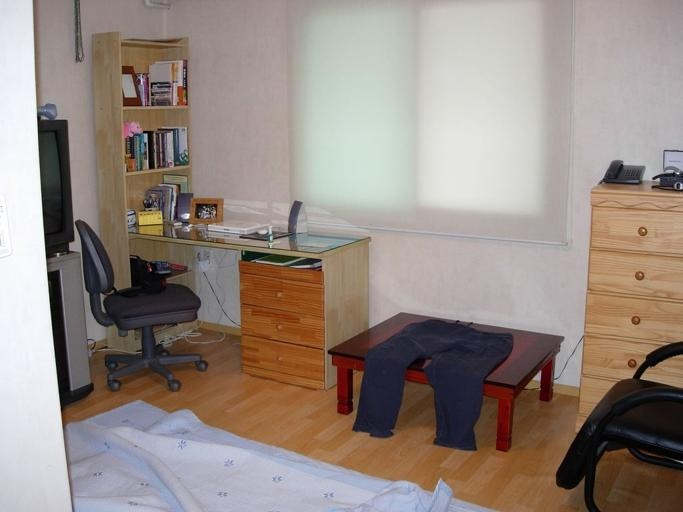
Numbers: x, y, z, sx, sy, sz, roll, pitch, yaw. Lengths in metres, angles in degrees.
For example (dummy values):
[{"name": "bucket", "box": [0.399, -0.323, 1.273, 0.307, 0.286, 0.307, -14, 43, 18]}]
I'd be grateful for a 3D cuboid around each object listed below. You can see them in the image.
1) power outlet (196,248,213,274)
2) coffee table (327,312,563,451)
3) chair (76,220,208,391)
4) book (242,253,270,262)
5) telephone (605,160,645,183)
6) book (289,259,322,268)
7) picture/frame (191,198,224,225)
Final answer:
[{"name": "power outlet", "box": [-1.238, 0.036, 4.780, 0.183, 0.261, 0.066, -6, -2, -13]}, {"name": "coffee table", "box": [0.678, 0.771, 3.585, 1.439, 0.483, 0.901, 5, 14, 22]}, {"name": "chair", "box": [-1.480, 0.327, 4.003, 0.927, 1.169, 0.799, -1, 9, -24]}, {"name": "book", "box": [-0.701, 0.010, 4.126, 0.117, 0.026, 0.113, 7, 15, 30]}, {"name": "telephone", "box": [1.673, -0.481, 3.171, 0.192, 0.055, 0.212, 7, 27, 28]}, {"name": "book", "box": [-0.245, 0.044, 3.801, 0.243, 0.064, 0.188, 2, 13, 8]}, {"name": "picture/frame", "box": [-1.161, -0.379, 4.628, 0.258, 0.211, 0.033, 1, 1, 3]}]
